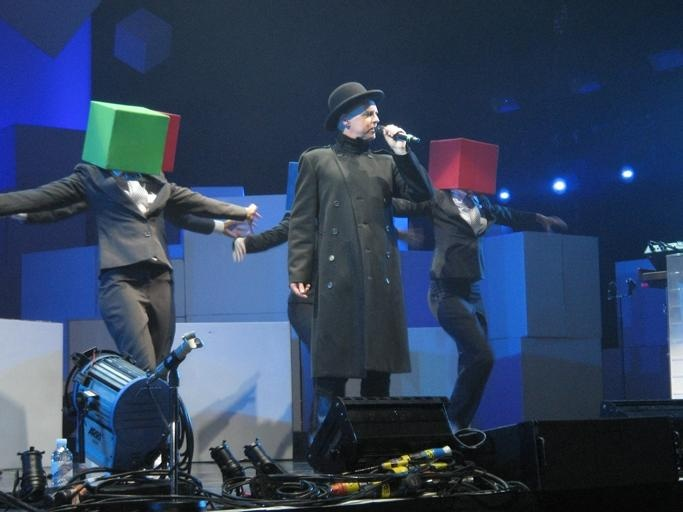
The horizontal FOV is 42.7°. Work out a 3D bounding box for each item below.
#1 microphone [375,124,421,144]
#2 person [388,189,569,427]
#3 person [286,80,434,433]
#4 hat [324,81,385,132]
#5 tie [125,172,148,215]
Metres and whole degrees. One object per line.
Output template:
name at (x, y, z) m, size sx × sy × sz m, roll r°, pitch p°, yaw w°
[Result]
microphone at (0.275, -0.699, 4.931) m, size 0.088 × 0.104 × 0.444 m, roll 2°, pitch 8°, yaw -44°
person at (1.019, 0.409, 6.318) m, size 1.537 × 1.876 × 0.510 m, roll 8°, pitch -25°, yaw -24°
person at (0.106, 0.071, 4.818) m, size 0.763 × 1.559 × 0.252 m, roll -6°, pitch -11°, yaw 10°
hat at (0.044, -0.873, 4.993) m, size 0.259 × 0.107 × 0.288 m, roll -21°, pitch -11°, yaw -47°
tie at (-1.182, -0.370, 5.053) m, size 0.073 × 0.210 × 0.130 m, roll -22°, pitch -8°, yaw 37°
